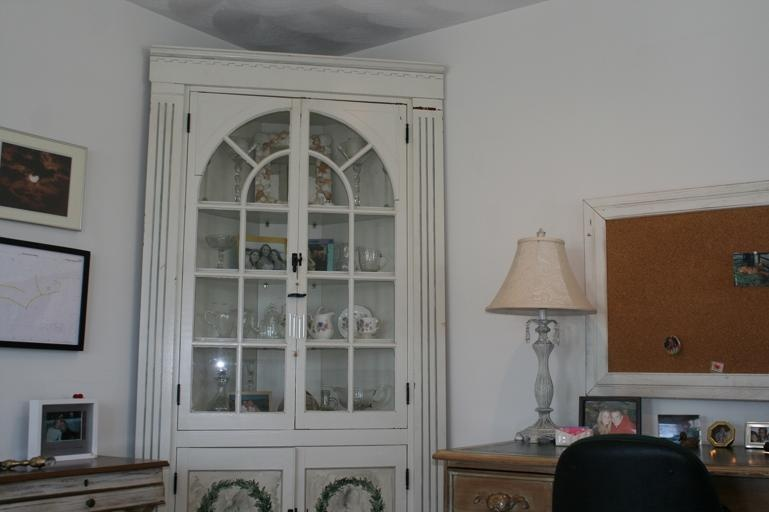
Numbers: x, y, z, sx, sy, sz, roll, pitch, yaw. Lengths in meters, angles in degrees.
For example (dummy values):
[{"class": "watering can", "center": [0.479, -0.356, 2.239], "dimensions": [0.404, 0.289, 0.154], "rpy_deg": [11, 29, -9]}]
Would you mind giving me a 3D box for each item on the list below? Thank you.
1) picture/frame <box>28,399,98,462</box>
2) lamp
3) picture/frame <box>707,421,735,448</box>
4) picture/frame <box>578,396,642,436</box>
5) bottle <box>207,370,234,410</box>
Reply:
[{"class": "picture/frame", "center": [-1.593, 0.862, 3.103], "dimensions": [0.285, 0.273, 0.101], "rpy_deg": [6, -15, -38]}, {"class": "lamp", "center": [0.835, 0.400, 3.322], "dimensions": [0.521, 1.100, 0.471], "rpy_deg": [-4, -9, 21]}, {"class": "picture/frame", "center": [1.629, 0.866, 3.060], "dimensions": [0.098, 0.099, 0.032], "rpy_deg": [-11, -25, 31]}, {"class": "picture/frame", "center": [1.152, 0.791, 3.251], "dimensions": [0.327, 0.177, 0.272], "rpy_deg": [2, -5, 13]}, {"class": "bottle", "center": [-0.910, 0.763, 3.506], "dimensions": [0.151, 0.230, 0.148], "rpy_deg": [8, 9, -1]}]
